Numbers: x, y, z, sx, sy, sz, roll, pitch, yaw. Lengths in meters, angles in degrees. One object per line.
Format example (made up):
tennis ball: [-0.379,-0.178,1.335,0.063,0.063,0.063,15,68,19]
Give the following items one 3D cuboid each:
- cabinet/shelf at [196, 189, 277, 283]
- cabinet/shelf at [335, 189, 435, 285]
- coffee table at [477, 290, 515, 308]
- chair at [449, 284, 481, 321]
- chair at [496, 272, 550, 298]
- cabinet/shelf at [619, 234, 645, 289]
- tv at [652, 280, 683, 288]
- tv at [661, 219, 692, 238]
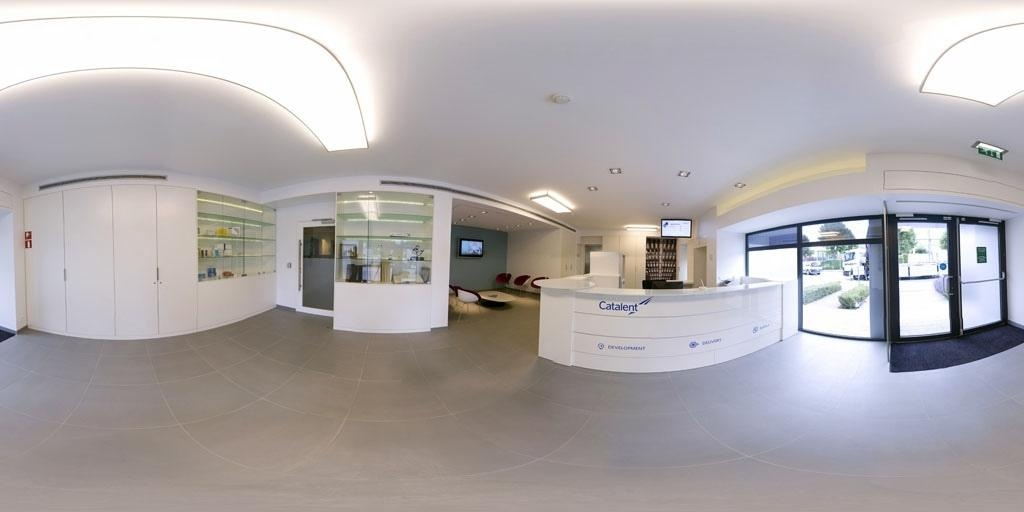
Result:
cabinet/shelf: [-7.191,-0.413,13.347,1.037,1.928,2.466,2,0,16]
cabinet/shelf: [-3.055,-0.448,12.563,2.695,2.172,0.813,0,-3,-4]
coffee table: [-0.452,1.233,14.923,0.911,0.349,1.089,0,3,-4]
chair: [-1.208,1.198,14.392,0.899,0.850,0.864,-3,3,-24]
chair: [0.238,0.901,17.296,0.952,0.622,1.909,-1,3,-40]
cabinet/shelf: [4.068,0.107,17.633,0.812,1.833,0.419,0,3,-9]
tv: [3.865,0.665,13.176,0.683,0.154,1.911,1,3,14]
tv: [4.691,-0.804,14.987,0.659,0.371,0.081,0,-1,4]
